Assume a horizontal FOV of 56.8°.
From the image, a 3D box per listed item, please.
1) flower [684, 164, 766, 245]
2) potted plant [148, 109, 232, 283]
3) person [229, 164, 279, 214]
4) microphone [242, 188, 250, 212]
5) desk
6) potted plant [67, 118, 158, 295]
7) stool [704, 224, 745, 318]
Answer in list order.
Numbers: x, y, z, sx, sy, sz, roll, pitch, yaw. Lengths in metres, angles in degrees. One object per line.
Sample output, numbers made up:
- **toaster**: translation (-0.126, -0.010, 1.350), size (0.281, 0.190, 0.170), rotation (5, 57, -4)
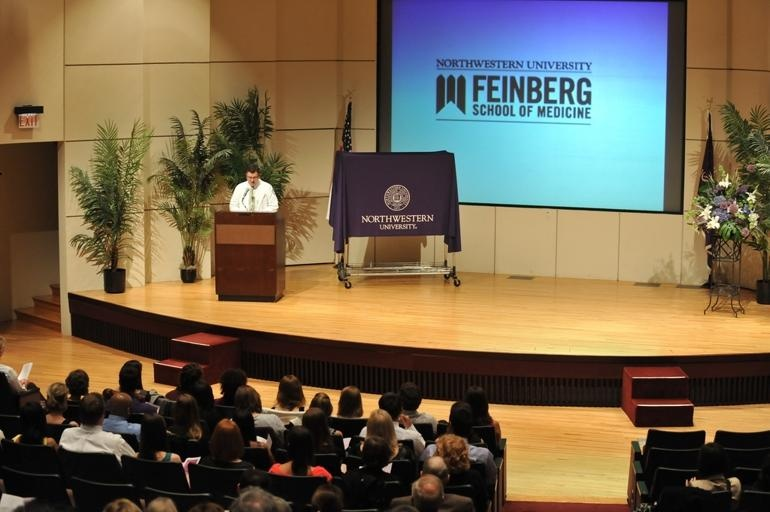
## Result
- **flower**: translation (4.936, -0.709, 10.489), size (1.047, 1.137, 1.001), rotation (-15, 20, -43)
- **potted plant**: translation (-3.209, -0.757, 11.901), size (1.179, 2.449, 1.210), rotation (-9, -20, 18)
- **person**: translation (-2.012, -1.014, 10.718), size (0.737, 0.686, 0.828), rotation (-6, 11, -34)
- **microphone**: translation (-2.132, -0.845, 10.890), size (0.072, 0.366, 0.246), rotation (4, 11, 12)
- **desk**: translation (0.209, -0.609, 11.826), size (2.026, 2.176, 1.041), rotation (0, 3, 1)
- **potted plant**: translation (-4.298, -0.772, 11.200), size (1.239, 2.659, 0.656), rotation (-4, 10, -27)
- **stool**: translation (5.210, 0.219, 10.905), size (0.535, 1.272, 0.603), rotation (1, 2, 15)
